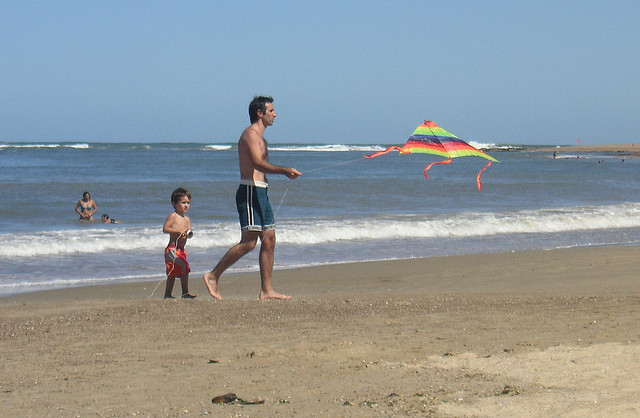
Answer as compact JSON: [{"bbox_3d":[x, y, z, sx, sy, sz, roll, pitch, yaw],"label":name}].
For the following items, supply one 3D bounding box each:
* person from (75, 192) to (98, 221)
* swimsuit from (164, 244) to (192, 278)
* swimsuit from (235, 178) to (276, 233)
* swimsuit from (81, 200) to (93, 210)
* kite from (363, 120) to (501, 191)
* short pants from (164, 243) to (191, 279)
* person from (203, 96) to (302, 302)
[{"bbox_3d":[-5.808,0.098,22.210,0.551,1.016,0.360,1,13,-14],"label":"person"},{"bbox_3d":[-2.049,0.693,12.868,0.338,0.437,0.336,3,3,-1],"label":"swimsuit"},{"bbox_3d":[-0.946,-0.081,12.337,0.467,0.731,0.661,5,9,19],"label":"swimsuit"},{"bbox_3d":[-5.791,-0.108,22.176,0.177,0.189,0.078,-2,31,-10],"label":"swimsuit"},{"bbox_3d":[1.773,-0.956,13.091,1.692,0.500,1.673,6,-3,-38],"label":"kite"},{"bbox_3d":[-2.036,0.725,12.734,0.443,0.603,0.447,-1,3,-12],"label":"short pants"},{"bbox_3d":[-0.903,-0.114,12.143,1.248,2.760,0.584,0,6,2],"label":"person"}]
